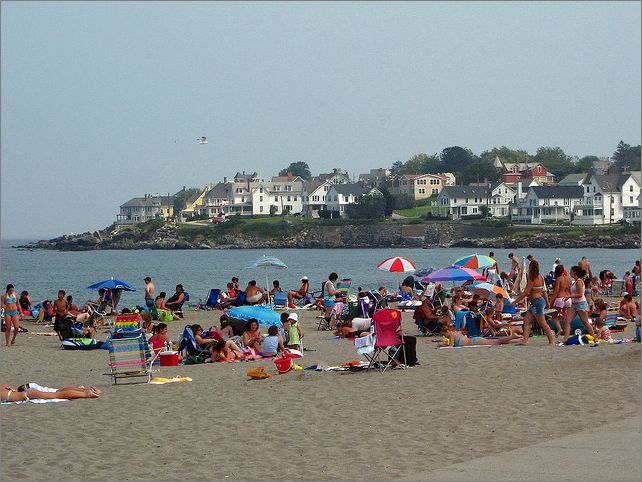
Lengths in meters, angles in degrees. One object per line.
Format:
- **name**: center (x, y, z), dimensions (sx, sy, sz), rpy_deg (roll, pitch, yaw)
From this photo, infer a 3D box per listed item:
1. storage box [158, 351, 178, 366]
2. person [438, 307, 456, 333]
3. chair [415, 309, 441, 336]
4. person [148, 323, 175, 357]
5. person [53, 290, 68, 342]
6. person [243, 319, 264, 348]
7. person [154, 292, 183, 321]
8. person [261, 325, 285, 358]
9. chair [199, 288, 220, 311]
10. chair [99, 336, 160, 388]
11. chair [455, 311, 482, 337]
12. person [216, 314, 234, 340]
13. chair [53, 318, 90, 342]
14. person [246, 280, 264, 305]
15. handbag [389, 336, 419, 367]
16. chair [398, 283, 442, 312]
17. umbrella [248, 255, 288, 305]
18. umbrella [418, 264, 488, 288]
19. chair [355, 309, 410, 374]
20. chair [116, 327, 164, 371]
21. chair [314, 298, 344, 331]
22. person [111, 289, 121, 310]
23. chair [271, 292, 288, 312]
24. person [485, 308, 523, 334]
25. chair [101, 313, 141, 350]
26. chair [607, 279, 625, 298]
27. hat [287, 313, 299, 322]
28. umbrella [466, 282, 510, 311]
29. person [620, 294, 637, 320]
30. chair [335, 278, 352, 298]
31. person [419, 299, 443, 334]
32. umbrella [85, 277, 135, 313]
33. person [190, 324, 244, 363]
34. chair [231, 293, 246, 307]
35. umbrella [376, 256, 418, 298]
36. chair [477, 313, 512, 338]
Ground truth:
- **storage box**: center (-3.549, 2.748, 26.297), dimensions (0.348, 0.251, 0.341), rpy_deg (0, 3, 10)
- **person**: center (3.346, 2.052, 29.933), dimensions (0.392, 0.518, 0.901), rpy_deg (1, -24, 19)
- **chair**: center (2.835, 2.192, 30.108), dimensions (0.673, 0.793, 0.638), rpy_deg (-1, 2, 17)
- **person**: center (-3.880, 2.460, 27.681), dimensions (0.643, 0.873, 0.798), rpy_deg (5, -5, 5)
- **person**: center (-7.005, 2.062, 30.448), dimensions (0.454, 1.399, 0.468), rpy_deg (-1, -2, -18)
- **person**: center (-1.628, 2.288, 27.517), dimensions (0.524, 0.733, 0.579), rpy_deg (-5, 8, -40)
- **person**: center (-4.819, 2.132, 35.956), dimensions (0.399, 0.938, 0.789), rpy_deg (14, 33, 17)
- **person**: center (-1.122, 2.442, 26.953), dimensions (0.422, 0.974, 0.563), rpy_deg (9, 33, 4)
- **chair**: center (-3.780, 2.080, 39.421), dimensions (0.579, 1.005, 0.689), rpy_deg (9, -4, 7)
- **chair**: center (-4.161, 2.666, 24.600), dimensions (0.959, 1.001, 1.576), rpy_deg (-5, -9, -5)
- **chair**: center (3.688, 2.099, 28.244), dimensions (0.677, 0.686, 0.492), rpy_deg (-2, 1, -2)
- **person**: center (-2.328, 2.114, 27.596), dimensions (0.494, 0.796, 0.572), rpy_deg (0, 7, -1)
- **chair**: center (-6.619, 2.355, 30.050), dimensions (0.798, 0.660, 0.585), rpy_deg (-2, 3, -3)
- **person**: center (-2.100, 1.704, 36.363), dimensions (0.647, 0.703, 1.220), rpy_deg (-2, 8, -3)
- **handbag**: center (1.848, 2.455, 25.143), dimensions (0.623, 0.660, 0.611), rpy_deg (3, -9, 10)
- **chair**: center (2.972, 1.721, 34.303), dimensions (0.626, 0.840, 1.849), rpy_deg (1, -5, -27)
- **umbrella**: center (-1.830, 1.085, 38.315), dimensions (0.994, 1.086, 0.976), rpy_deg (1, 7, 25)
- **umbrella**: center (3.770, 1.014, 31.887), dimensions (1.806, 0.424, 1.247), rpy_deg (-6, 9, -30)
- **chair**: center (1.326, 2.210, 24.774), dimensions (0.980, 1.251, 0.935), rpy_deg (-5, -8, -17)
- **chair**: center (-4.057, 2.458, 26.879), dimensions (1.008, 1.134, 0.459), rpy_deg (2, 2, 2)
- **chair**: center (0.261, 2.146, 32.486), dimensions (0.733, 0.825, 0.656), rpy_deg (3, 1, 0)
- **person**: center (-6.426, 1.819, 35.387), dimensions (0.201, 0.982, 0.254), rpy_deg (10, -10, -38)
- **chair**: center (-1.361, 2.070, 37.984), dimensions (0.606, 0.680, 0.514), rpy_deg (1, -7, -8)
- **person**: center (4.496, 2.038, 28.200), dimensions (0.827, 0.836, 0.548), rpy_deg (-5, 3, 0)
- **chair**: center (-4.847, 2.351, 27.960), dimensions (0.642, 0.779, 0.734), rpy_deg (-5, 22, 12)
- **chair**: center (10.920, 1.838, 41.485), dimensions (0.576, 0.761, 0.552), rpy_deg (10, 27, 2)
- **hat**: center (-0.655, 1.876, 26.737), dimensions (0.291, 0.167, 0.330), rpy_deg (2, 2, -2)
- **umbrella**: center (4.690, 1.478, 31.492), dimensions (0.694, 0.286, 0.694), rpy_deg (10, -16, 33)
- **person**: center (8.615, 1.837, 31.538), dimensions (0.477, 0.812, 0.842), rpy_deg (0, 9, 15)
- **chair**: center (0.712, 1.490, 36.422), dimensions (0.368, 0.614, 0.457), rpy_deg (4, 43, -18)
- **person**: center (2.918, 2.011, 30.125), dimensions (0.575, 1.014, 0.802), rpy_deg (-1, 8, 4)
- **umbrella**: center (-6.448, 1.635, 35.173), dimensions (1.269, 0.863, 1.233), rpy_deg (0, -4, 8)
- **person**: center (-2.354, 2.419, 26.833), dimensions (1.527, 0.906, 0.609), rpy_deg (2, 5, 0)
- **chair**: center (-2.589, 1.919, 36.445), dimensions (0.395, 0.554, 0.419), rpy_deg (3, 5, 23)
- **umbrella**: center (2.510, 1.132, 35.321), dimensions (1.262, 1.362, 1.219), rpy_deg (0, 2, -7)
- **chair**: center (4.326, 2.109, 28.168), dimensions (0.714, 0.646, 0.527), rpy_deg (-2, 1, 9)
